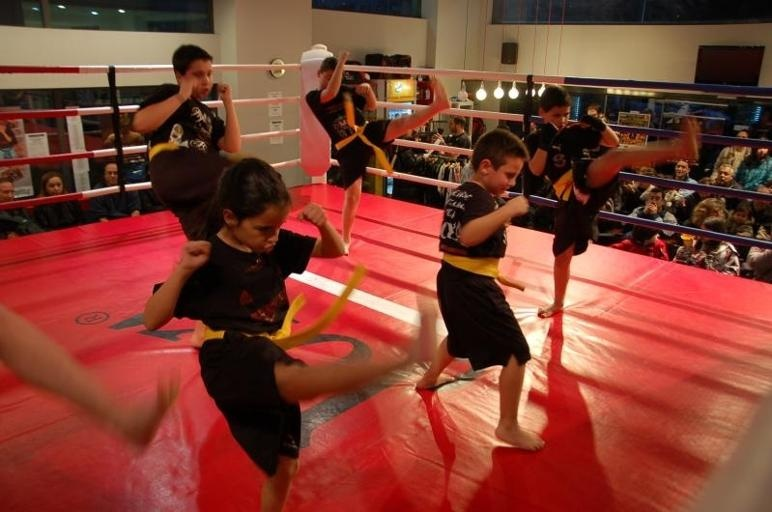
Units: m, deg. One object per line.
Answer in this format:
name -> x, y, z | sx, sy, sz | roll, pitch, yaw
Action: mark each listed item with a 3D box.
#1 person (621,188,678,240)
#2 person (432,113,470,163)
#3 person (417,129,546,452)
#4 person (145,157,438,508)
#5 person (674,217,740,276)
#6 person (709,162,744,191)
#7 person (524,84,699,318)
person -> 3.307, -0.603, 5.823 | 0.818, 0.380, 1.109 | 12, 21, 32
person -> 1.067, -1.710, 7.407 | 0.524, 0.855, 0.534 | -1, 17, -19
person -> 0.563, 0.140, 2.340 | 0.708, 1.447, 0.422 | 18, 25, 40
person -> -0.372, 0.321, 1.714 | 0.929, 1.270, 0.590 | 12, 22, 28
person -> 3.016, 0.073, 4.448 | 0.507, 0.721, 0.419 | 6, 21, 34
person -> 4.565, -1.052, 6.339 | 0.311, 0.303, 1.348 | 15, 23, 35
person -> 1.480, -0.253, 3.263 | 0.874, 1.360, 0.584 | -2, 19, -7
